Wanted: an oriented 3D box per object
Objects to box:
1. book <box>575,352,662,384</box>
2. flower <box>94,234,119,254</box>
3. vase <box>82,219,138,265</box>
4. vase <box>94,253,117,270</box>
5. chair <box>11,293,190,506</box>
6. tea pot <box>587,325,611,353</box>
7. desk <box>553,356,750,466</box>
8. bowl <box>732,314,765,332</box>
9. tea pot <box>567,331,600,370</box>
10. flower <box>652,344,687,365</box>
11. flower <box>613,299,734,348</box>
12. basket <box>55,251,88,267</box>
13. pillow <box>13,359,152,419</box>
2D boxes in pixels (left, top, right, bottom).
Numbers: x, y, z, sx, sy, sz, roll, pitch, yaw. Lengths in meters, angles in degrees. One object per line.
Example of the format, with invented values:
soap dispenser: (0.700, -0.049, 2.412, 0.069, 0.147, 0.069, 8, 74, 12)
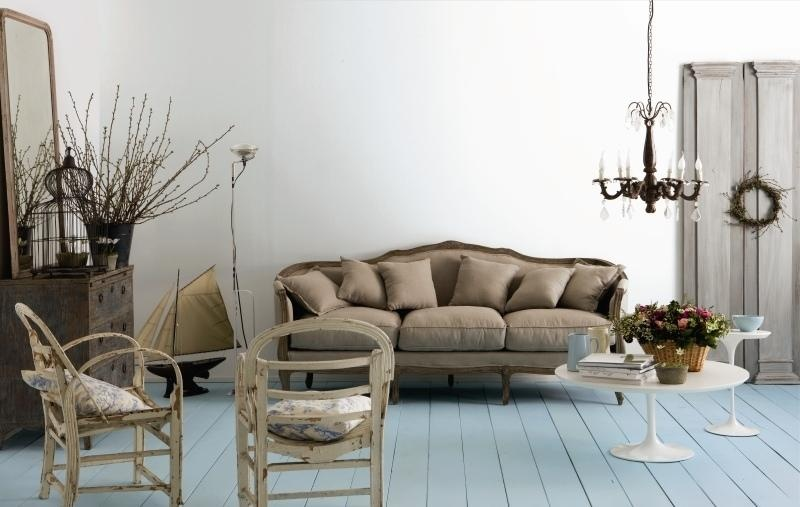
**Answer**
book: (1.537, 0.809, 4.483, 0.546, 0.139, 0.254, 2, 11, 13)
flower: (-2.373, -0.071, 5.123, 0.068, 0.149, 0.213, 4, 12, 24)
vase: (-2.362, -0.081, 5.173, 0.364, 0.294, 0.334, -1, -4, 30)
vase: (-2.379, 0.063, 5.090, 0.117, 0.090, 0.143, 1, 2, 23)
chair: (-2.022, 0.995, 4.783, 1.426, 1.878, 1.261, 0, 0, -27)
tea pot: (1.512, 0.653, 4.791, 0.134, 0.217, 0.219, 1, -5, -2)
desk: (1.817, 1.164, 4.620, 1.356, 0.674, 0.613, 0, 11, 3)
bowl: (2.790, 0.555, 5.070, 0.188, 0.104, 0.191, 5, -3, 0)
tea pot: (1.340, 0.720, 4.689, 0.297, 0.299, 0.189, 2, -2, 14)
flower: (1.954, 0.714, 4.552, 0.167, 0.071, 0.179, 0, -2, 15)
flower: (1.974, 0.527, 4.604, 0.493, 0.235, 0.477, 0, -6, 7)
basket: (-2.608, 0.046, 5.055, 0.121, 0.079, 0.176, -1, -1, 24)
pillow: (-2.010, 0.867, 4.068, 0.779, 0.334, 0.408, 2, 11, 13)
